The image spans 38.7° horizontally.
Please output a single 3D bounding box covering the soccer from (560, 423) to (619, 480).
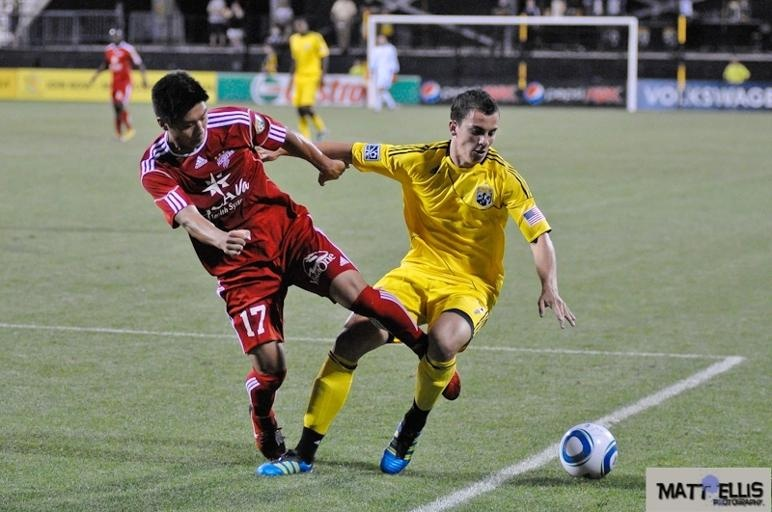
[{"bbox_3d":[1.542,1.457,8.330,0.427,0.399,0.417,2,4,-42],"label":"soccer"}]

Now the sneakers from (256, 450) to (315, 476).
[{"bbox_3d":[-0.763,1.615,8.506,0.454,0.186,0.159,2,-10,-9],"label":"sneakers"}]

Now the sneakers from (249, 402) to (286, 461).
[{"bbox_3d":[-0.891,1.370,8.590,0.254,0.429,0.186,-19,-5,0],"label":"sneakers"}]

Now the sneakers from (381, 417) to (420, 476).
[{"bbox_3d":[0.115,1.485,8.478,0.185,0.194,0.501,14,19,15],"label":"sneakers"}]
